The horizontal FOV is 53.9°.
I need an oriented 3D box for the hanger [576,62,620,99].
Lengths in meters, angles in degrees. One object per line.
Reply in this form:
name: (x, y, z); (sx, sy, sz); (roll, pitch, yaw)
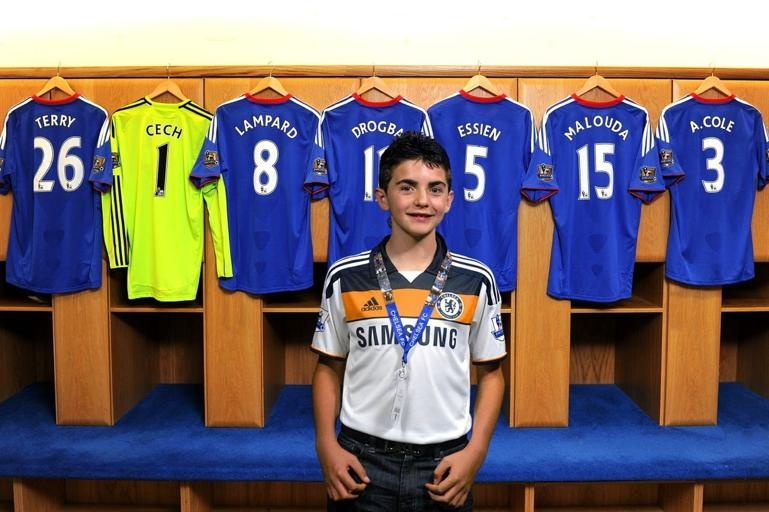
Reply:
hanger: (1.400, -1.137, 4.969); (0.332, 0.223, 0.017); (0, 6, 9)

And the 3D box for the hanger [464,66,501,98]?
hanger: (0.640, -1.131, 4.938); (0.210, 0.114, 0.008); (3, 15, 14)

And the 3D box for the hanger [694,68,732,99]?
hanger: (2.155, -1.131, 4.985); (0.212, 0.115, 0.010); (2, 9, 17)

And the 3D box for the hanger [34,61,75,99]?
hanger: (-2.188, -1.150, 5.007); (0.369, 0.258, 0.009); (4, 9, 12)

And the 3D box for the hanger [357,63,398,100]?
hanger: (-0.049, -1.132, 4.960); (0.239, 0.174, 0.011); (1, 16, 7)

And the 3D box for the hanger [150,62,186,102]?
hanger: (-1.427, -1.127, 4.967); (0.277, 0.195, 0.046); (2, 4, 9)

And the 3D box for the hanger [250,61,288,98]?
hanger: (-0.748, -1.150, 4.926); (0.309, 0.231, 0.008); (6, 3, 24)
